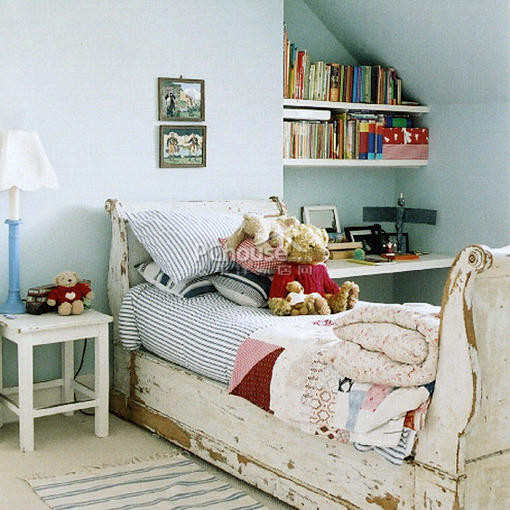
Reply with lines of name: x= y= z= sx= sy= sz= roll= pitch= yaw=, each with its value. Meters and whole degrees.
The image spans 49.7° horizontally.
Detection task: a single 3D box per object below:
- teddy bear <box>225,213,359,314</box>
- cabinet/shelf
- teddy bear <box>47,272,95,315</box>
teddy bear: x=0.168 y=0.013 z=2.413 sx=0.500 sy=0.393 sz=0.436 roll=2 pitch=7 yaw=36
cabinet/shelf: x=0.700 y=-0.836 z=3.817 sx=1.264 sy=0.506 sz=0.209 roll=0 pitch=4 yaw=-27
teddy bear: x=-0.852 y=0.184 z=2.545 sx=0.198 sy=0.193 sz=0.111 roll=-7 pitch=14 yaw=-26
